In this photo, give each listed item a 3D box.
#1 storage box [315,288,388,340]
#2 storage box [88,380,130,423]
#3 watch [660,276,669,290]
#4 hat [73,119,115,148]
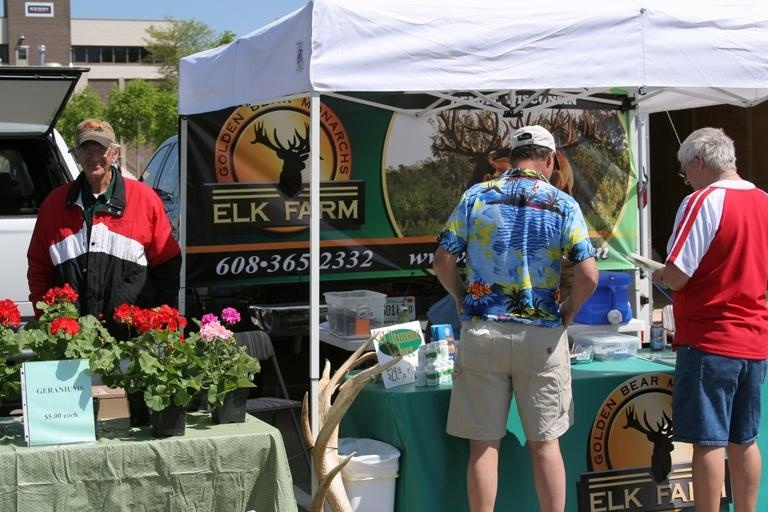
[{"bbox_3d":[-0.198,0.398,8.062,0.371,0.234,0.277,-3,5,-32],"label":"storage box"},{"bbox_3d":[-1.626,0.850,6.801,0.288,0.186,0.404,1,2,-17],"label":"storage box"},{"bbox_3d":[1.704,0.163,7.046,0.029,0.080,0.059,-6,-13,19],"label":"watch"},{"bbox_3d":[-1.792,-0.750,7.162,0.246,0.193,0.245,-1,-1,-15],"label":"hat"}]
